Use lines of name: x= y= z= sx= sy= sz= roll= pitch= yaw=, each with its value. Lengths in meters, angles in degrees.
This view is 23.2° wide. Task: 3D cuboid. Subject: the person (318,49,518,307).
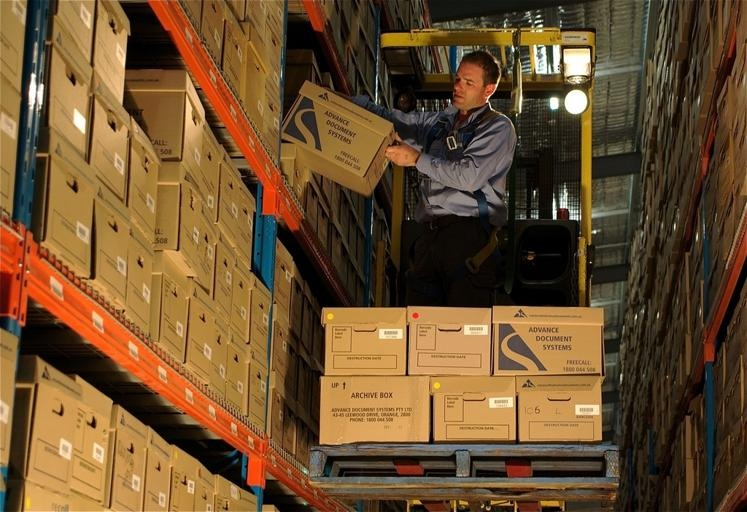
person: x=0.388 y=-0.654 z=15.714 sx=1.351 sy=3.212 sz=1.084 roll=-14 pitch=-28 yaw=37
